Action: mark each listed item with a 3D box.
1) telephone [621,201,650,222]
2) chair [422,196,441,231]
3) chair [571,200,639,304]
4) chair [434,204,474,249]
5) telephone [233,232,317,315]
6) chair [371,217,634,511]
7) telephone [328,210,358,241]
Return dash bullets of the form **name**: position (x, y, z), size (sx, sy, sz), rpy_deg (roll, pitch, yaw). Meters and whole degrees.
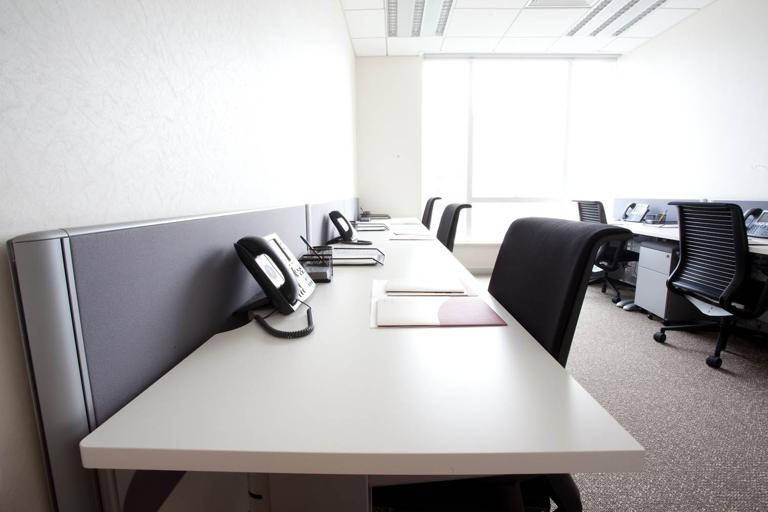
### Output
- **telephone**: position (2.306, -0.402, 4.617), size (0.180, 0.184, 0.272), rpy_deg (-14, 3, 20)
- **chair**: position (0.475, -0.446, 5.048), size (0.178, 0.395, 0.468), rpy_deg (-1, 10, 5)
- **chair**: position (1.909, -0.049, 4.354), size (0.503, 0.740, 0.524), rpy_deg (7, 9, -22)
- **chair**: position (0.472, -0.218, 3.456), size (0.132, 0.299, 0.363), rpy_deg (2, 10, -6)
- **telephone**: position (-0.390, 0.026, 1.835), size (0.254, 0.227, 0.396), rpy_deg (10, 10, 0)
- **chair**: position (0.390, 0.294, 2.141), size (1.052, 1.437, 0.812), rpy_deg (2, 2, -5)
- **telephone**: position (-0.260, -0.157, 2.958), size (0.056, 0.225, 0.119), rpy_deg (-20, 20, 24)
